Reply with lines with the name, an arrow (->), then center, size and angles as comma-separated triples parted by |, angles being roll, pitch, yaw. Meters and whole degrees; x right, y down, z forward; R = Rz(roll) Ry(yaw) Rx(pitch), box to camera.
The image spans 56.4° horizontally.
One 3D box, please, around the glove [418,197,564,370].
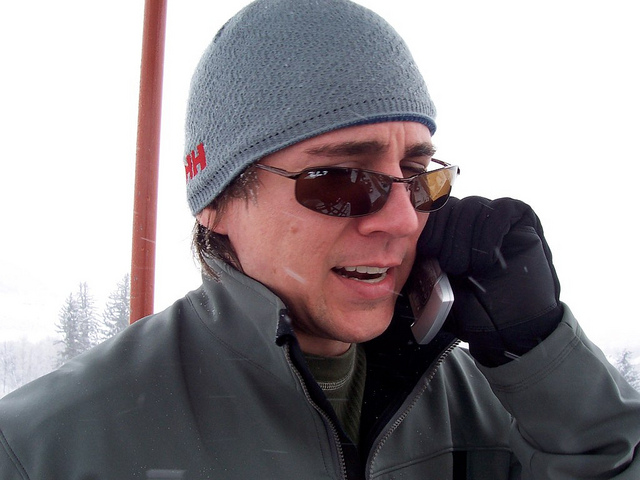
glove -> 0.758, 0.109, 2.750 | 0.772, 0.833, 0.711 | 0, 14, -4
